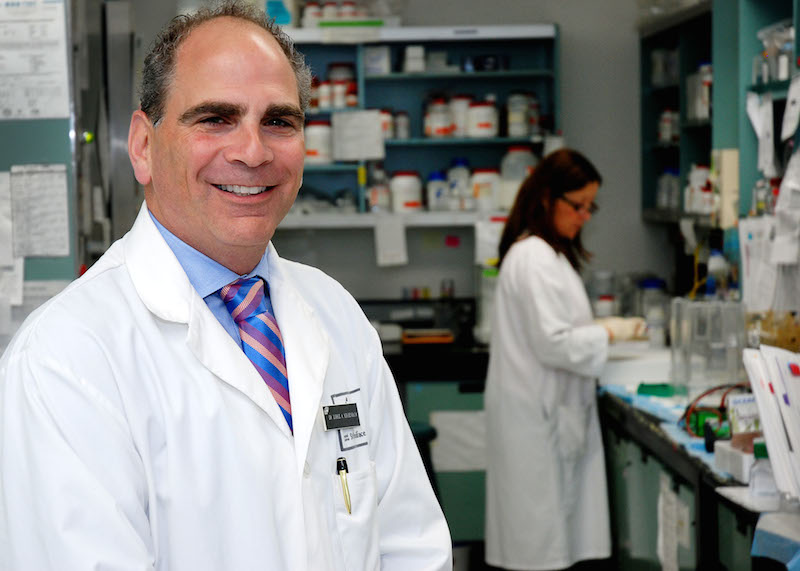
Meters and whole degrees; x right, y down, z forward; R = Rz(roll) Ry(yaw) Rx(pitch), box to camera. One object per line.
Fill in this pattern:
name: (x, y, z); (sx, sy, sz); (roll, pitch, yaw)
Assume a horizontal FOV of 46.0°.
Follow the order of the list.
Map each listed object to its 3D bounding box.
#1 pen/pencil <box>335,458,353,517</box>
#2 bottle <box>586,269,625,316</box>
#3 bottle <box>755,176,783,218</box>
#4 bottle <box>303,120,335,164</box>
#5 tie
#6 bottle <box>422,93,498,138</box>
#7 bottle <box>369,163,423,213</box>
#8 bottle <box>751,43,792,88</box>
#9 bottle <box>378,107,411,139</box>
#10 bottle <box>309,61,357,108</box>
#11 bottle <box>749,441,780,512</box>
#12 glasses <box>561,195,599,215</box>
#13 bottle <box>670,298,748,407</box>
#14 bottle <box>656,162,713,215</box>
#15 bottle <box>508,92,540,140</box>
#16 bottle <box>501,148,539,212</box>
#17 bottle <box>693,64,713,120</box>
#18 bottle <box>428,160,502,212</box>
pen/pencil: (-0.100, 0.366, 1.707); (0.021, 0.105, 0.026); (-6, -5, -2)
bottle: (0.640, 0.017, 3.028); (0.116, 0.155, 0.125); (-11, 10, 2)
bottle: (1.020, -0.245, 2.624); (0.045, 0.098, 0.102); (-4, 8, -9)
bottle: (-0.294, -0.506, 3.373); (0.092, 0.156, 0.101); (0, 6, 0)
tie: (-0.251, 0.105, 1.717); (0.081, 0.383, 0.038); (-5, -32, -19)
bottle: (0.192, -0.510, 2.876); (0.188, 0.123, 0.120); (2, 3, 1)
bottle: (-0.014, -0.324, 3.151); (0.177, 0.201, 0.136); (-1, 3, -3)
bottle: (1.020, -0.593, 2.588); (0.084, 0.099, 0.088); (-1, -6, 14)
bottle: (-0.023, -0.527, 3.070); (0.109, 0.125, 0.077); (-1, 9, -5)
bottle: (-0.223, -0.699, 3.293); (0.171, 0.191, 0.126); (4, 8, 22)
bottle: (0.808, 0.422, 2.108); (0.061, 0.129, 0.098); (-2, 7, 8)
glasses: (0.539, -0.240, 2.822); (0.069, 0.025, 0.074); (12, 29, -34)
bottle: (0.867, 0.175, 2.666); (0.221, 0.376, 0.241); (0, 0, 0)
bottle: (0.842, -0.275, 2.786); (0.133, 0.120, 0.144); (0, 0, 19)
bottle: (0.370, -0.509, 2.864); (0.112, 0.187, 0.109); (-1, 0, 0)
bottle: (0.375, -0.372, 3.092); (0.087, 0.162, 0.097); (11, -36, 10)
bottle: (0.890, -0.563, 2.760); (0.047, 0.162, 0.030); (0, 7, 22)
bottle: (0.217, -0.310, 3.155); (0.170, 0.127, 0.189); (0, -4, 1)
